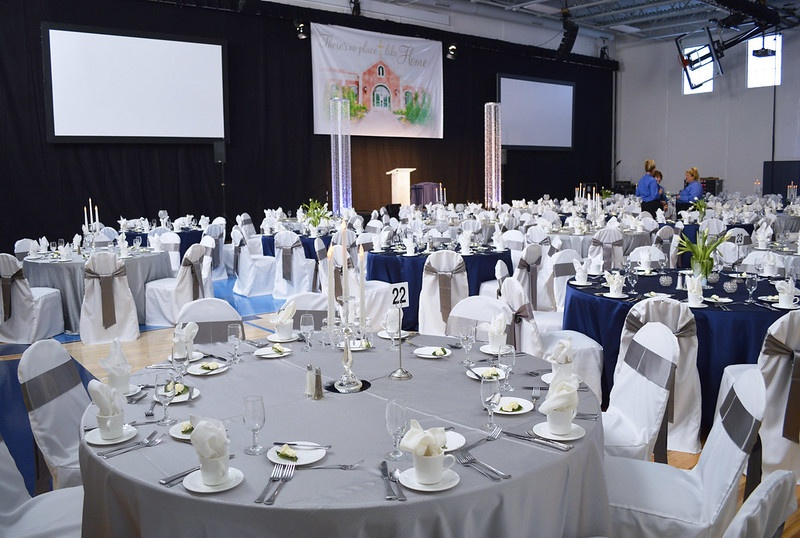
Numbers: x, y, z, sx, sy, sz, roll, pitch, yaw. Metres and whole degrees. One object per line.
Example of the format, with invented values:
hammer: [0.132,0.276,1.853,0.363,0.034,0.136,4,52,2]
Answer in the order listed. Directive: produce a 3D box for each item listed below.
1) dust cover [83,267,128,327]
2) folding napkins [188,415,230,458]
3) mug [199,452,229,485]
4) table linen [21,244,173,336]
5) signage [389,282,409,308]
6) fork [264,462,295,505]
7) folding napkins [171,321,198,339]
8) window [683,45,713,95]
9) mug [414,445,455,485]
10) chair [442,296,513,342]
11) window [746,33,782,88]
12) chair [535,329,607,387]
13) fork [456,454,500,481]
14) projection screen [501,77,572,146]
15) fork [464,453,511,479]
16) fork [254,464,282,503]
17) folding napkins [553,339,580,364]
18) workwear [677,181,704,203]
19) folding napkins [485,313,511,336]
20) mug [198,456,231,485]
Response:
dust cover: [-3.303,0.296,6.662,0.523,0.913,0.084,-4,6,-33]
folding napkins: [-0.851,0.730,2.635,0.177,0.203,0.144,-14,-10,36]
mug: [-0.800,0.865,2.579,0.093,0.109,0.130,-2,0,-30]
table linen: [-3.592,0.155,7.352,1.040,0.650,1.086,0,1,15]
signage: [-0.008,0.296,6.678,0.014,0.311,0.242,1,2,42]
fork: [-0.513,0.928,2.579,0.041,0.037,0.254,-13,29,23]
folding napkins: [-1.296,0.362,3.615,0.105,0.051,0.118,-8,-22,-7]
window: [8.301,-5.689,16.584,0.869,1.307,3.136,3,9,26]
mug: [0.148,0.857,2.602,0.155,0.125,0.127,2,-5,-6]
chair: [0.558,0.324,4.157,0.291,0.422,0.348,4,9,19]
window: [9.934,-5.697,16.196,0.078,1.697,1.141,-12,13,-32]
chair: [1.190,0.621,4.100,0.332,0.408,0.318,-4,18,-6]
fork: [0.338,0.876,2.653,0.066,0.039,0.260,-8,17,-26]
projection screen: [3.877,-4.586,17.277,2.231,1.654,0.103,-2,2,-39]
fork: [0.390,0.881,2.640,0.066,0.040,0.229,-6,11,-32]
fork: [-0.561,0.930,2.576,0.035,0.040,0.271,-11,28,15]
folding napkins: [0.927,0.478,3.331,0.122,0.149,0.112,8,15,38]
workwear: [5.910,-1.692,12.090,0.394,0.427,0.817,12,24,23]
folding napkins: [0.606,0.346,3.743,0.128,0.192,0.150,16,1,24]
mug: [-0.797,0.873,2.577,0.093,0.103,0.124,-1,-1,-33]
